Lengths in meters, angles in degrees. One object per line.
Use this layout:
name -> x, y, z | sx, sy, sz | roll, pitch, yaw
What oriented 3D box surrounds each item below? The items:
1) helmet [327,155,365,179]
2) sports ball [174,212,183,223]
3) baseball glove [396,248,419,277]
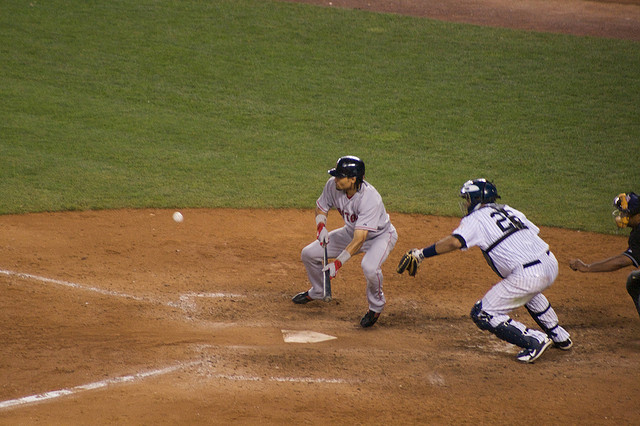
helmet -> 0.579, -1.037, 24.190 | 0.673, 0.349, 0.472 | 2, 10, -5
sports ball -> -3.557, 0.094, 27.062 | 0.174, 0.126, 0.214 | -35, 68, -31
baseball glove -> 1.971, 1.120, 23.836 | 0.289, 0.623, 0.341 | 25, -10, -18
